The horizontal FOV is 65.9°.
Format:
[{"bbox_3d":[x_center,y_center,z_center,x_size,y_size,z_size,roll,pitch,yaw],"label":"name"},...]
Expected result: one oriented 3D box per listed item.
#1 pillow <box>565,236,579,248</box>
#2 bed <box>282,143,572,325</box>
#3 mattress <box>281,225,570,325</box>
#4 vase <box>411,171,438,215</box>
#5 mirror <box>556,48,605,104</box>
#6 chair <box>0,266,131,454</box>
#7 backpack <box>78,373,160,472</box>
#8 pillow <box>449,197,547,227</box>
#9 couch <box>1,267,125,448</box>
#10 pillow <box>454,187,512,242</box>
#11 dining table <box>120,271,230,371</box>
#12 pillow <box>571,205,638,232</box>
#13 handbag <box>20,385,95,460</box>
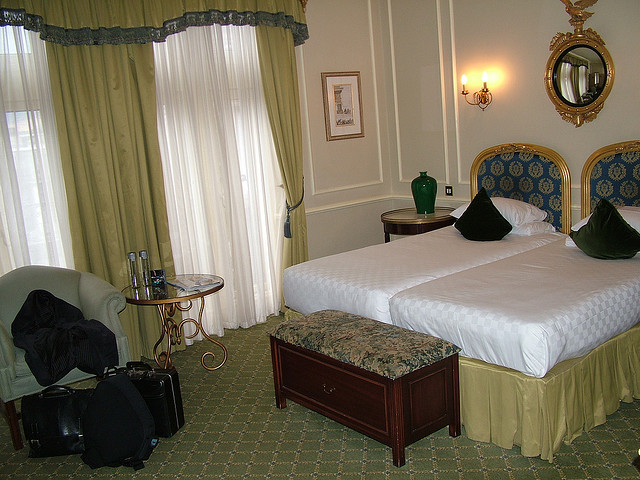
[{"bbox_3d":[2.470,0.013,4.839,0.098,0.033,0.075,23,25,26],"label":"pillow"},{"bbox_3d":[1.225,-0.085,5.210,2.903,1.948,1.572,-10,9,-32],"label":"bed"},{"bbox_3d":[1.911,0.527,4.358,2.522,0.611,1.320,-11,11,-32],"label":"mattress"},{"bbox_3d":[1.353,-0.622,6.414,0.318,0.575,0.347,-8,7,-19],"label":"vase"},{"bbox_3d":[2.774,-1.754,5.223,0.056,0.765,0.577,-10,9,-42],"label":"mirror"},{"bbox_3d":[-2.236,0.877,4.752,1.251,1.638,1.417,-6,9,-34],"label":"chair"},{"bbox_3d":[-1.520,1.399,3.900,0.484,0.734,0.206,0,-2,1],"label":"backpack"},{"bbox_3d":[2.028,-0.362,5.639,0.743,0.407,1.001,-8,8,-34],"label":"pillow"},{"bbox_3d":[-2.197,0.796,4.794,1.329,1.654,1.262,-7,10,-36],"label":"couch"},{"bbox_3d":[1.757,-0.218,5.329,0.527,0.515,0.159,45,3,29],"label":"pillow"},{"bbox_3d":[-1.431,0.868,5.081,0.784,0.793,0.896,1,-1,26],"label":"dining table"},{"bbox_3d":[2.791,-0.286,4.649,0.351,0.110,0.342,-37,-2,-5],"label":"pillow"},{"bbox_3d":[-2.006,1.395,3.882,0.542,0.568,0.262,-2,13,-3],"label":"handbag"}]
